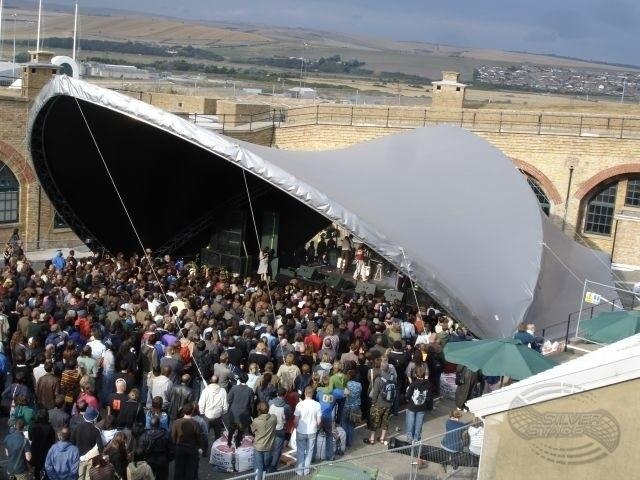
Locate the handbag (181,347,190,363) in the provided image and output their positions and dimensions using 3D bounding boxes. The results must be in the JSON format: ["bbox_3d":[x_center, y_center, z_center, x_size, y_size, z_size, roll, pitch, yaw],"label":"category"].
[{"bbox_3d":[-2.526,2.163,14.931,0.141,0.281,0.201,2,3,24],"label":"handbag"}]

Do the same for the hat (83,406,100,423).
[{"bbox_3d":[-3.659,2.777,12.676,0.176,0.244,0.334,1,3,2],"label":"hat"}]

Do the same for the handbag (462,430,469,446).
[{"bbox_3d":[2.464,3.336,13.277,0.148,0.251,0.052,-2,4,-40],"label":"handbag"}]

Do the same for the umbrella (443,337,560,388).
[{"bbox_3d":[3.259,2.146,14.383,1.156,0.381,1.168,-2,16,-4],"label":"umbrella"}]

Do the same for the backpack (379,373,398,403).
[{"bbox_3d":[1.277,2.718,14.509,0.375,0.537,0.156,-2,4,-37],"label":"backpack"}]

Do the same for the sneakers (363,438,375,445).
[{"bbox_3d":[0.942,3.813,15.020,0.212,0.078,0.078,19,21,39],"label":"sneakers"}]
